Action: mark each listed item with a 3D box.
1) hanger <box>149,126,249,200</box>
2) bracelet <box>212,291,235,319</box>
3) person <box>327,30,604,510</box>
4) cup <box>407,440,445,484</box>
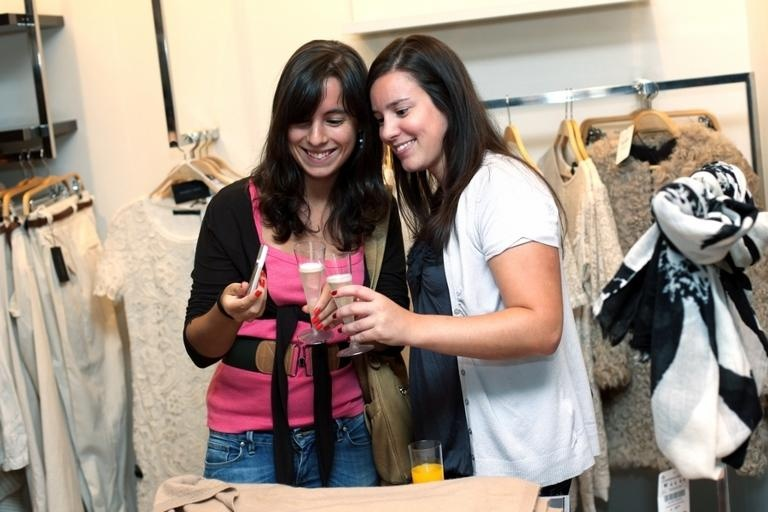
[{"bbox_3d":[-0.869,-0.404,2.685,0.312,0.254,0.450,-13,14,15],"label":"hanger"},{"bbox_3d":[-0.512,0.165,1.877,0.049,0.096,0.076,-4,4,-22],"label":"bracelet"},{"bbox_3d":[0.285,0.026,1.846,0.690,1.504,0.652,-2,4,21],"label":"person"},{"bbox_3d":[0.131,0.638,1.864,0.118,0.139,0.115,-1,0,0],"label":"cup"}]
